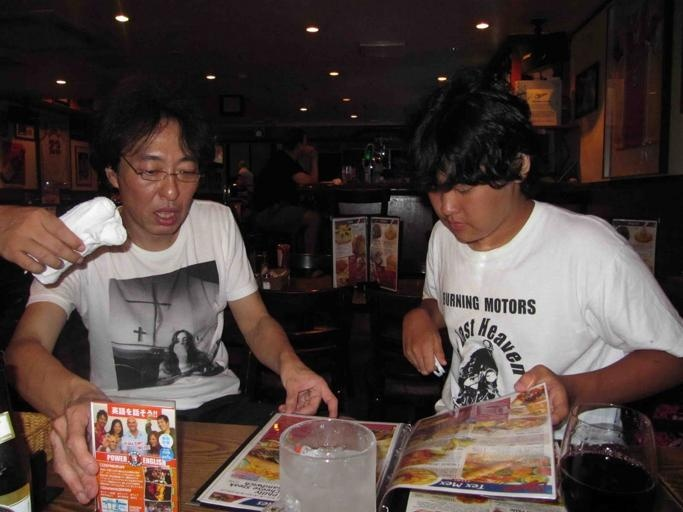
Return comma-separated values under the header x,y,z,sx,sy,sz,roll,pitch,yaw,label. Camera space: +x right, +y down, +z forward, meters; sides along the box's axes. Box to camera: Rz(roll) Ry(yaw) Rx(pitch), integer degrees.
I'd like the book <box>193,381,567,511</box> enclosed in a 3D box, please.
x,y,z,sx,sy,sz,roll,pitch,yaw,label
0.138,0.470,1.282,0.622,0.112,0.364,3,17,17,book

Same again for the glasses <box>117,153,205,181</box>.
x,y,z,sx,sy,sz,roll,pitch,yaw,label
-0.653,-0.311,1.878,0.260,0.101,0.095,-3,2,-20,glasses

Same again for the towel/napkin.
x,y,z,sx,sy,sz,roll,pitch,yaw,label
-0.641,-0.012,1.336,0.233,0.183,0.088,-33,-33,2,towel/napkin

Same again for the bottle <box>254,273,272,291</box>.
x,y,z,sx,sy,sz,roll,pitch,yaw,label
-0.479,0.156,3.217,0.092,0.089,0.095,4,6,13,bottle
